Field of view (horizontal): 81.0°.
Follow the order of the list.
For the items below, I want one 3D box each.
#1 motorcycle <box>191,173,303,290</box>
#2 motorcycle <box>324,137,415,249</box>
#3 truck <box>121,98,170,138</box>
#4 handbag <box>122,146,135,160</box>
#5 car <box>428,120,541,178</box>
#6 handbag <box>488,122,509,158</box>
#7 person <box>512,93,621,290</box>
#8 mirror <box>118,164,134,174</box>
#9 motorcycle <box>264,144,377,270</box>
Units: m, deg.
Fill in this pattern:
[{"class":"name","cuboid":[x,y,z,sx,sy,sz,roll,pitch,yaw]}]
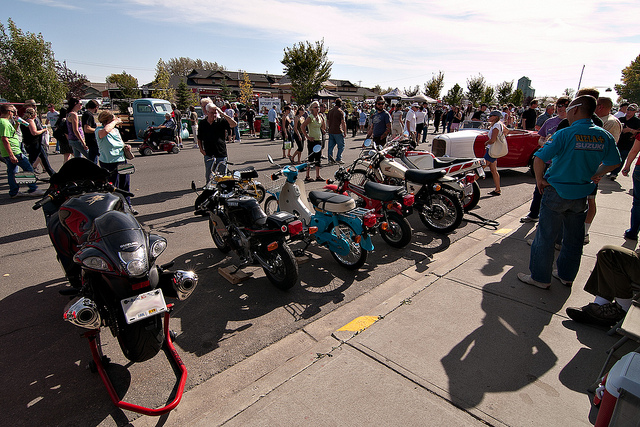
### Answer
[{"class":"motorcycle","cuboid":[-1.157,0.170,5.968,1.215,1.557,2.505,-18,25,-39]},{"class":"motorcycle","cuboid":[0.855,-0.371,7.160,1.351,1.762,2.400,-26,27,-31]},{"class":"truck","cuboid":[-8.544,-4.600,17.985,3.255,1.590,0.918,4,14,-2]},{"class":"handbag","cuboid":[-3.734,-1.177,7.261,0.079,0.214,0.263,-28,42,-19]},{"class":"car","cuboid":[5.292,-2.066,11.587,3.387,1.577,1.960,-3,14,0]},{"class":"handbag","cuboid":[4.334,-1.736,8.990,0.433,0.837,0.293,-3,19,-11]},{"class":"person","cuboid":[3.557,-0.265,5.490,1.145,2.732,0.705,6,11,13]},{"class":"mirror","cuboid":[-2.815,-0.638,5.427,0.219,0.139,0.029,-2,54,-18]},{"class":"motorcycle","cuboid":[-0.151,-0.109,6.395,1.252,1.823,2.622,-20,27,-40]}]
